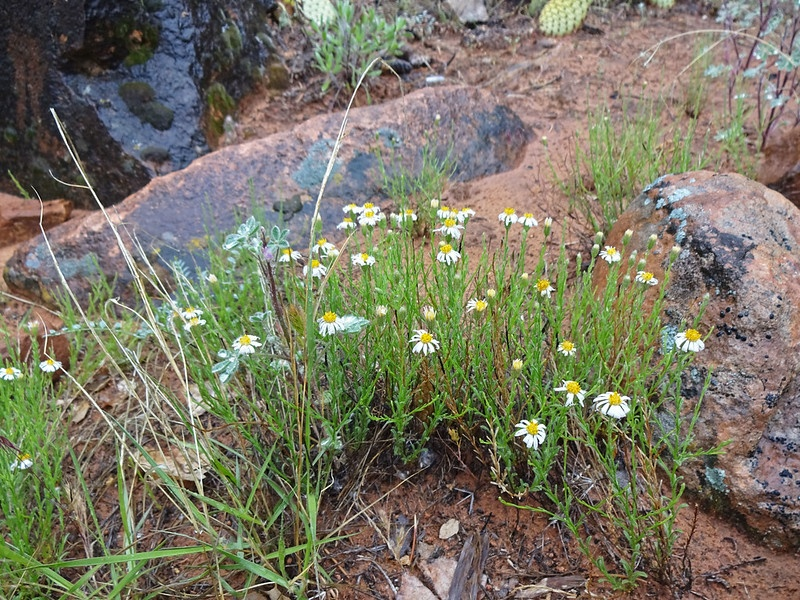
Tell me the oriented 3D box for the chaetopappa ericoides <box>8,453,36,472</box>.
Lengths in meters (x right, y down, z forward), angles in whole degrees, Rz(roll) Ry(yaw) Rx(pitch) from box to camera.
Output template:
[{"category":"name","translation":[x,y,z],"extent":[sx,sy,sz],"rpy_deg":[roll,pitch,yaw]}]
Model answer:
[{"category":"chaetopappa ericoides","translation":[-1.748,0.752,3.331],"extent":[0.083,0.031,0.112],"rpy_deg":[0,-2,-16]}]

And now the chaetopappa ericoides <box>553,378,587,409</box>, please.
[{"category":"chaetopappa ericoides","translation":[0.762,0.421,3.230],"extent":[0.123,0.064,0.122],"rpy_deg":[-32,57,-30]}]

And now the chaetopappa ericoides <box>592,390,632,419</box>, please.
[{"category":"chaetopappa ericoides","translation":[0.930,0.474,3.144],"extent":[0.116,0.069,0.126],"rpy_deg":[-19,31,-6]}]
